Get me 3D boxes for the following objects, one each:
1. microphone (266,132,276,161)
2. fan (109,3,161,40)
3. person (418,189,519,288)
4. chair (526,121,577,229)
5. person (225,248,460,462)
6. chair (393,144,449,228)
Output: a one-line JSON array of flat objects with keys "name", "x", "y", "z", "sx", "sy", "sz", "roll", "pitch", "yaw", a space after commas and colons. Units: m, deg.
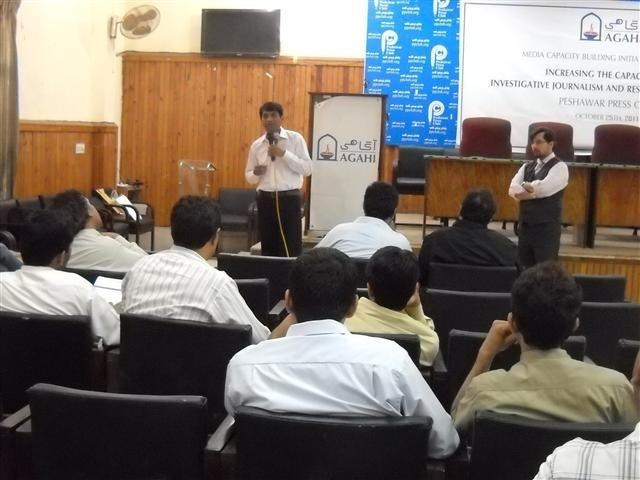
[{"name": "microphone", "x": -0.410, "y": -0.789, "z": 4.989, "sx": 0.092, "sy": 0.237, "sz": 0.254, "roll": 1, "pitch": 5, "yaw": -5}, {"name": "fan", "x": -2.797, "y": -3.250, "z": 8.819, "sx": 0.621, "sy": 0.525, "sz": 0.244, "roll": 0, "pitch": 23, "yaw": -18}, {"name": "person", "x": 1.039, "y": -0.035, "z": 4.075, "sx": 0.597, "sy": 0.775, "sz": 0.389, "roll": 6, "pitch": 10, "yaw": 8}, {"name": "chair", "x": 2.510, "y": -0.758, "z": 6.431, "sx": 0.623, "sy": 1.270, "sz": 0.725, "roll": 4, "pitch": -4, "yaw": 31}, {"name": "person", "x": 0.056, "y": 0.357, "z": 1.829, "sx": 0.684, "sy": 0.656, "sz": 0.413, "roll": 2, "pitch": 10, "yaw": 15}, {"name": "chair", "x": 1.204, "y": -0.786, "z": 7.794, "sx": 0.712, "sy": 1.131, "sz": 0.790, "roll": 1, "pitch": 4, "yaw": 8}]
